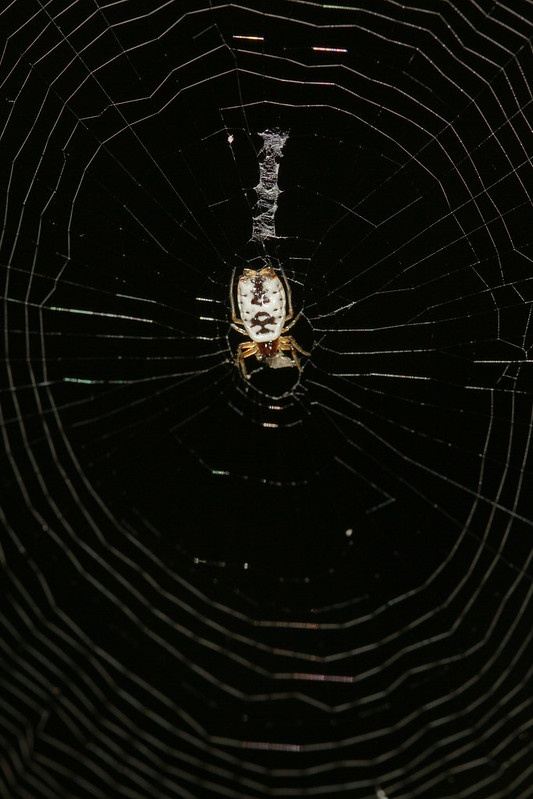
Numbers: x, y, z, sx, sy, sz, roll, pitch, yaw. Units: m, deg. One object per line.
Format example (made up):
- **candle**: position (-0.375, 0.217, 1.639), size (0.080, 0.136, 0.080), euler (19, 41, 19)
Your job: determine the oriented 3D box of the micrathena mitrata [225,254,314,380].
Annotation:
- **micrathena mitrata**: position (-0.011, -0.307, 2.726), size (0.267, 0.123, 0.411), euler (-6, -50, 5)
